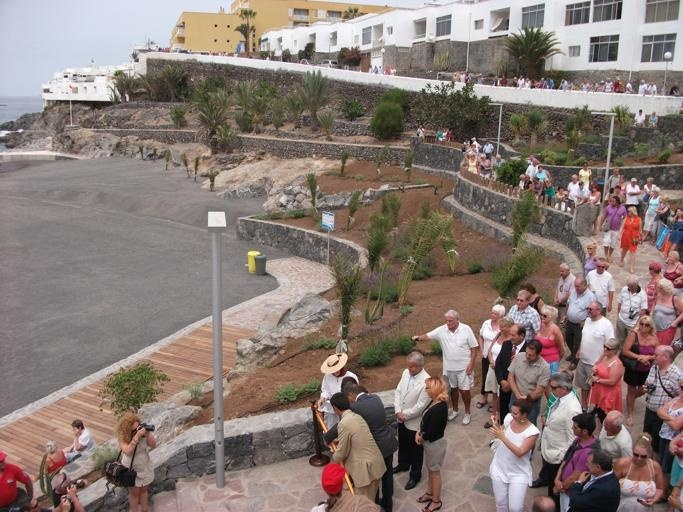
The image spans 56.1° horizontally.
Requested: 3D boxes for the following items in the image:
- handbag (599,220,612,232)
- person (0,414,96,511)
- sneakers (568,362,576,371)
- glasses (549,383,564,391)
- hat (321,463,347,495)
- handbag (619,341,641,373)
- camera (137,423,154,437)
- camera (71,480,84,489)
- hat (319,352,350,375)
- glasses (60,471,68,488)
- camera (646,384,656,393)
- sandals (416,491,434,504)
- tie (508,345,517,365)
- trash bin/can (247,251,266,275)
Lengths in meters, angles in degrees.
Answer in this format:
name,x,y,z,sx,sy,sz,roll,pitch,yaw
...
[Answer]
name,x,y,z,sx,sy,sz,roll,pitch,yaw
handbag,7.073,-0.808,17.262,0.195,0.318,0.317,2,13,30
person,-5.130,3.912,11.562,1.248,0.767,1.888,18,24,7
sneakers,4.608,2.217,12.901,0.097,0.082,0.193,5,27,43
glasses,3.340,2.037,9.902,0.136,0.048,0.136,21,5,-16
hat,-0.119,3.103,8.938,0.308,0.436,0.428,-1,24,0
handbag,5.039,1.803,11.261,0.139,0.430,0.395,3,-9,-16
camera,-3.242,2.912,10.637,0.259,0.164,0.256,1,7,-11
camera,-4.355,3.786,10.626,0.171,0.100,0.242,26,-14,1
hat,-0.123,1.835,10.820,0.387,0.414,0.418,-5,15,-11
glasses,-4.600,3.666,10.676,0.110,0.183,0.240,-8,16,-22
camera,5.063,2.157,10.533,0.117,0.037,0.123,-20,20,-33
sandals,1.338,3.905,10.358,0.252,0.116,0.131,-6,7,-37
tie,2.922,1.706,10.978,0.131,0.283,0.330,5,16,24
trash bin/can,-3.448,0.269,25.934,0.696,0.688,0.429,15,19,38
